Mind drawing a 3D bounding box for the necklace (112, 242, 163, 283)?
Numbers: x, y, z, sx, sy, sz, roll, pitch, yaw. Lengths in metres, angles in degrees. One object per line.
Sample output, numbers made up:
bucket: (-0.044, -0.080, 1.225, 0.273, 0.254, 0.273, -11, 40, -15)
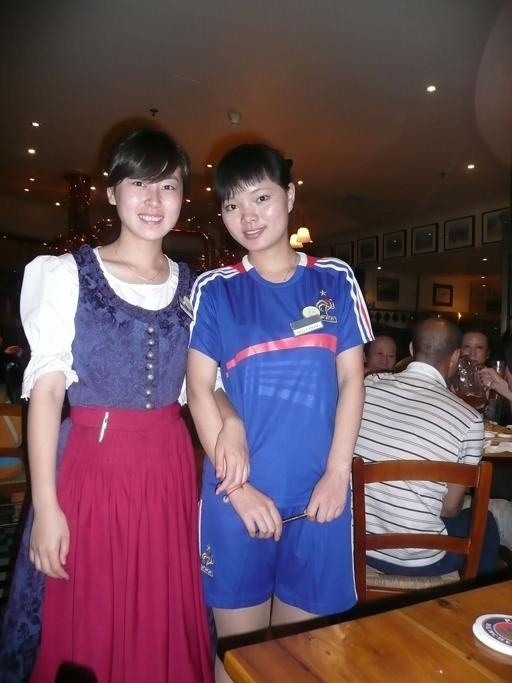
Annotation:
necklace: (-0.299, -0.197, 1.318, 0.103, 0.108, 0.063, -1, 26, -32)

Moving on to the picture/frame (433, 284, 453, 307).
picture/frame: (3.413, -0.878, 9.768, 0.411, 0.437, 0.036, -3, 18, 0)

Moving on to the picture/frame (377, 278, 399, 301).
picture/frame: (2.378, -0.972, 9.678, 0.417, 0.391, 0.031, -6, 12, -26)
